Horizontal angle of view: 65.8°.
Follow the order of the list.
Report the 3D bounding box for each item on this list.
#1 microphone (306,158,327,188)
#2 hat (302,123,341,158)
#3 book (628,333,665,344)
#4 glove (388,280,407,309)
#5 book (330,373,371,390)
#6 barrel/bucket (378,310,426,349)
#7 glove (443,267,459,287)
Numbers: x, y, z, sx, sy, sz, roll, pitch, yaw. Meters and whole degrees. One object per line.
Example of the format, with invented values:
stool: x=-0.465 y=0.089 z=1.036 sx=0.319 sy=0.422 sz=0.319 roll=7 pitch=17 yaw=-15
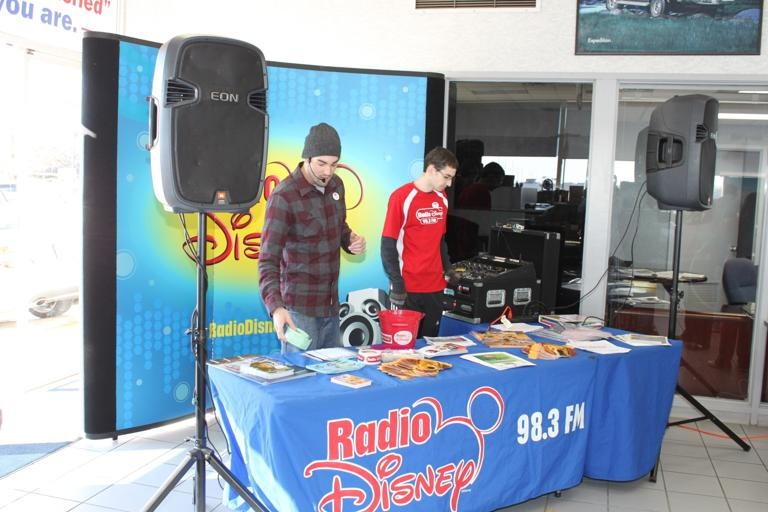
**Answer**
microphone: x=-0.451 y=-0.535 z=3.867 sx=0.117 sy=0.167 sz=0.094 roll=-1 pitch=8 yaw=35
hat: x=-0.387 y=-0.735 z=3.794 sx=0.194 sy=0.180 sz=0.244 roll=-4 pitch=7 yaw=-35
book: x=1.917 y=0.606 z=4.324 sx=0.156 sy=0.038 sz=0.161 roll=2 pitch=4 yaw=29
glove: x=0.108 y=0.310 z=4.588 sx=0.133 sy=0.189 sz=0.068 roll=8 pitch=1 yaw=27
book: x=-0.191 y=0.722 z=3.423 sx=0.240 sy=0.021 sz=0.144 roll=6 pitch=15 yaw=18
barrel/bucket: x=0.112 y=0.473 z=3.907 sx=0.247 sy=0.192 sz=0.266 roll=-1 pitch=2 yaw=0
glove: x=0.576 y=0.194 z=4.973 sx=0.105 sy=0.163 sz=0.155 roll=0 pitch=9 yaw=-28
